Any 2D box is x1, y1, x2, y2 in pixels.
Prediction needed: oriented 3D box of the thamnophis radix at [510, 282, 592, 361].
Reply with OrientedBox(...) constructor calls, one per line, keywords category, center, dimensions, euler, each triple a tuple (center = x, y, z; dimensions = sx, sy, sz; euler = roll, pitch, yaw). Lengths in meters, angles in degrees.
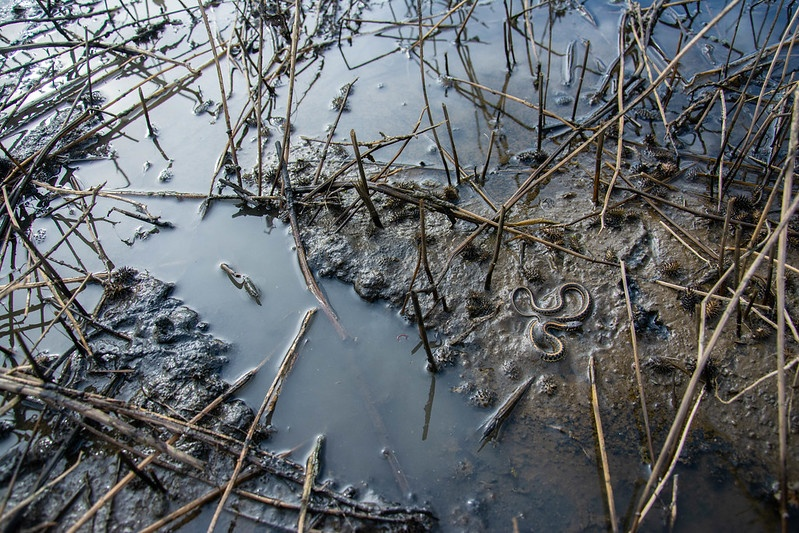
OrientedBox(category="thamnophis radix", center=(1.667, 0.591, 6.757), dimensions=(0.857, 0.789, 0.475), euler=(-7, 7, 14))
